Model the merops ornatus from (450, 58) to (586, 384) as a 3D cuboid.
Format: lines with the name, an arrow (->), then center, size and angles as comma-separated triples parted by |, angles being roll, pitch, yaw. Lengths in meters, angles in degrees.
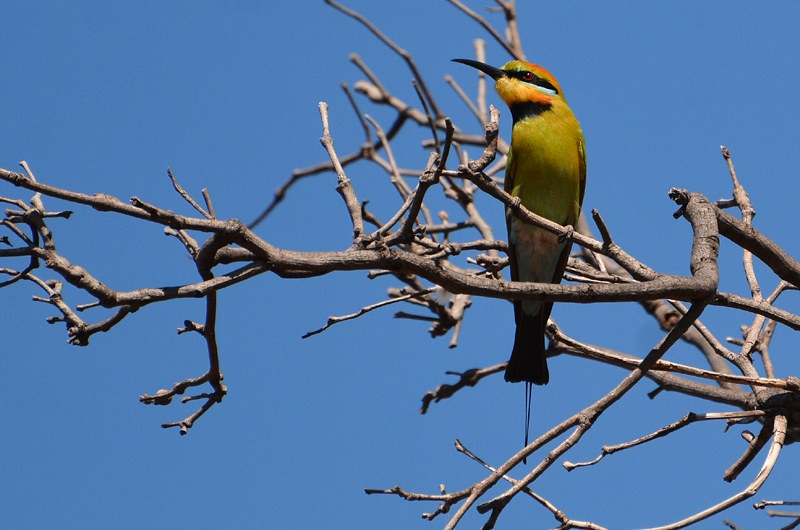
merops ornatus -> 0.891, -0.446, 8.231 | 0.726, 1.090, 2.614 | 1, -80, 1
